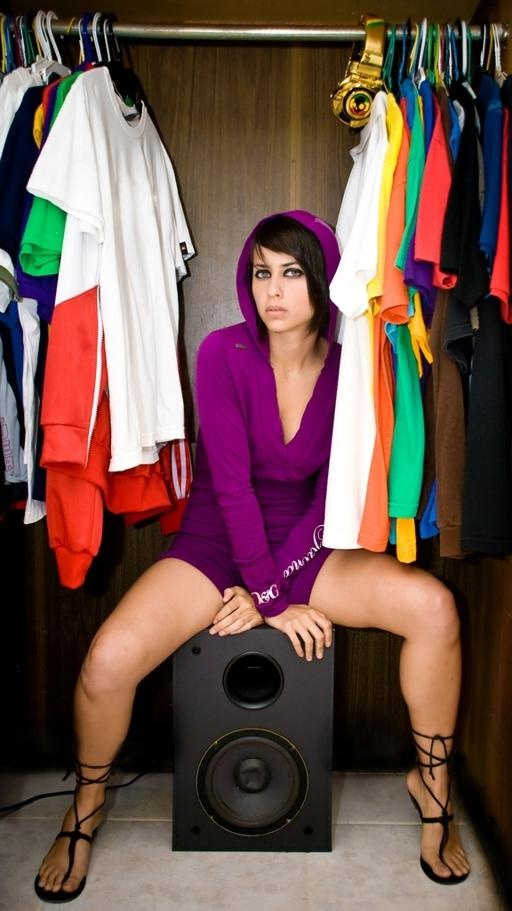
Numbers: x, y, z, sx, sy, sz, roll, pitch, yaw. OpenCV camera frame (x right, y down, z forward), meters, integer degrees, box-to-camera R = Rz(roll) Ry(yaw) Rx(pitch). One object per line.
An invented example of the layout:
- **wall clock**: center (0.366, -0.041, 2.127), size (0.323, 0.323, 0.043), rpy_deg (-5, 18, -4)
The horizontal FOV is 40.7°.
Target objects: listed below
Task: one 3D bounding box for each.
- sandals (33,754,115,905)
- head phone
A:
- **sandals**: center (-0.344, 0.723, 1.381), size (0.077, 0.130, 0.283), rpy_deg (1, 2, 5)
- **head phone**: center (0.224, -0.812, 1.395), size (0.082, 0.205, 0.218), rpy_deg (9, 49, -1)
